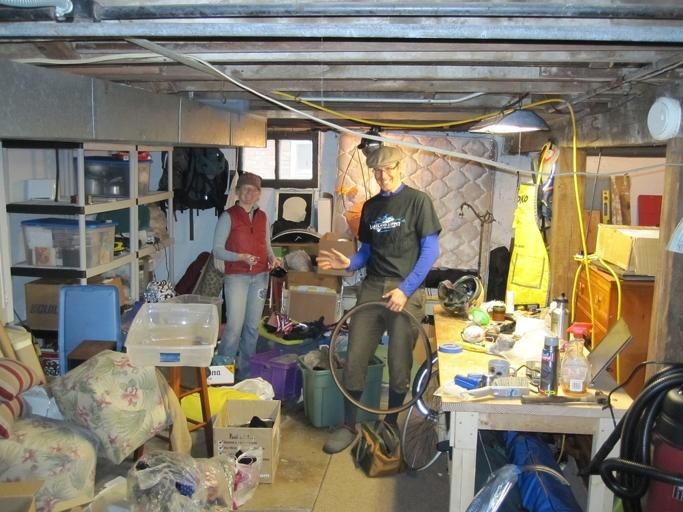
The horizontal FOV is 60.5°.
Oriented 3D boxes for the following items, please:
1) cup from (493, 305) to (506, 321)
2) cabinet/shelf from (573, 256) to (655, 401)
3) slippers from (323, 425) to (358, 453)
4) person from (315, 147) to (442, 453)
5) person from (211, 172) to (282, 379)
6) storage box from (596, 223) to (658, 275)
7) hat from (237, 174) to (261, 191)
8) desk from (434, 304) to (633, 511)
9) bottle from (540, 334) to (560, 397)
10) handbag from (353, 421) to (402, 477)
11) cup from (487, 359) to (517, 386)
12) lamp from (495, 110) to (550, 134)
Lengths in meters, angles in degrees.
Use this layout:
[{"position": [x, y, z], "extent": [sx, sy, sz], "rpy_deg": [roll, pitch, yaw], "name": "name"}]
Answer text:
[{"position": [1.034, 0.376, 3.848], "extent": [0.085, 0.084, 0.083], "rpy_deg": [0, 7, 0], "name": "cup"}, {"position": [1.719, 0.452, 3.642], "extent": [0.346, 0.804, 0.877], "rpy_deg": [2, 8, 9], "name": "cabinet/shelf"}, {"position": [-0.008, 1.334, 4.303], "extent": [0.132, 0.089, 0.252], "rpy_deg": [6, 7, 35], "name": "slippers"}, {"position": [0.290, 0.323, 4.200], "extent": [0.759, 2.221, 0.476], "rpy_deg": [3, 4, 20], "name": "person"}, {"position": [-0.850, 0.198, 5.234], "extent": [0.597, 1.828, 0.428], "rpy_deg": [1, 4, -22], "name": "person"}, {"position": [2.046, -0.045, 4.100], "extent": [0.162, 0.451, 0.470], "rpy_deg": [10, -3, -26], "name": "storage box"}, {"position": [-0.788, -0.648, 5.148], "extent": [0.157, 0.094, 0.154], "rpy_deg": [5, 14, 10], "name": "hat"}, {"position": [1.014, 0.815, 3.288], "extent": [0.957, 0.971, 0.922], "rpy_deg": [3, 3, 8], "name": "desk"}, {"position": [1.036, 0.538, 2.914], "extent": [0.084, 0.286, 0.099], "rpy_deg": [4, 4, 20], "name": "bottle"}, {"position": [0.260, 1.326, 4.119], "extent": [0.245, 0.236, 0.357], "rpy_deg": [-2, 13, -18], "name": "handbag"}, {"position": [0.831, 0.601, 3.043], "extent": [0.140, 0.100, 0.102], "rpy_deg": [-2, 10, -3], "name": "cup"}, {"position": [1.183, -0.849, 3.752], "extent": [0.264, 0.101, 0.282], "rpy_deg": [-4, 9, -19], "name": "lamp"}]
